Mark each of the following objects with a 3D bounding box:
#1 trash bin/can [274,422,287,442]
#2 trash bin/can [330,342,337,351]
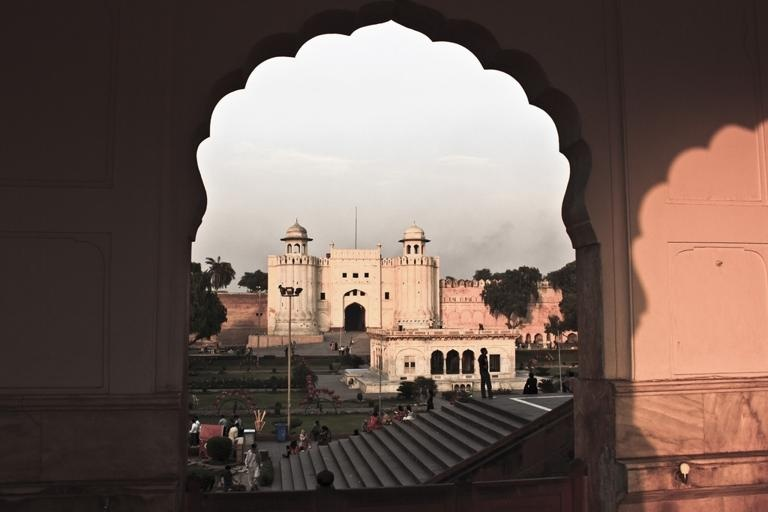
[{"bbox_3d":[-1.893,3.244,20.378,0.278,0.433,0.293,0,6,-1],"label":"trash bin/can"},{"bbox_3d":[-2.425,4.725,57.129,0.287,0.583,0.299,2,-5,-12],"label":"trash bin/can"}]
